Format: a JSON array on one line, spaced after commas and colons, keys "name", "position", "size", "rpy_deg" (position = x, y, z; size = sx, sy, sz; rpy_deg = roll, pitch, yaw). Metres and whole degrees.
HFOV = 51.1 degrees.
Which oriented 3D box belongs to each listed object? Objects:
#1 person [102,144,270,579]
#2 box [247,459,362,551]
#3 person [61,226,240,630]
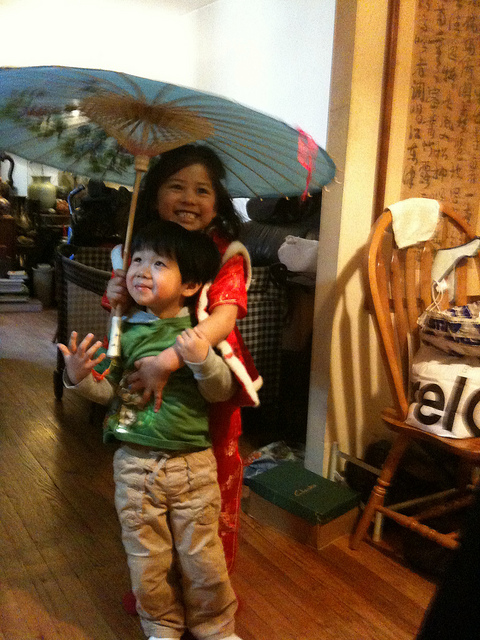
[{"name": "person", "position": [-0.161, 0.091, 1.303], "size": [0.440, 1.044, 0.415], "rpy_deg": [13, 18, 22]}, {"name": "box", "position": [0.219, 0.643, 1.750], "size": [0.240, 0.150, 0.316], "rpy_deg": [-5, 12, -44]}, {"name": "person", "position": [-0.186, 0.274, 1.155], "size": [0.440, 0.958, 0.327], "rpy_deg": [-1, 10, -28]}]
